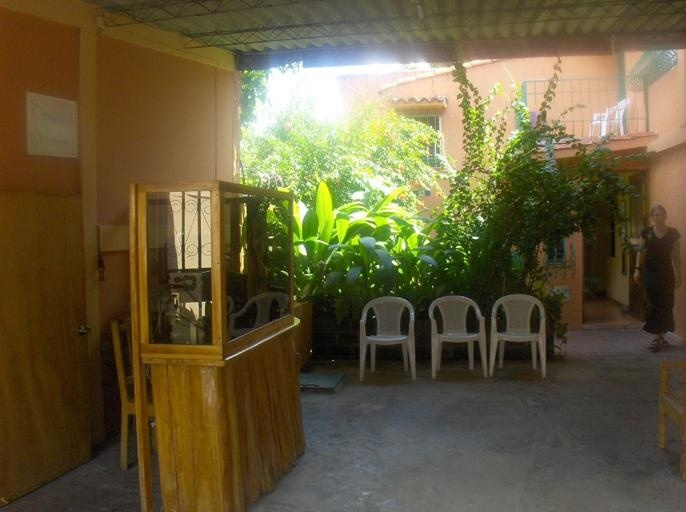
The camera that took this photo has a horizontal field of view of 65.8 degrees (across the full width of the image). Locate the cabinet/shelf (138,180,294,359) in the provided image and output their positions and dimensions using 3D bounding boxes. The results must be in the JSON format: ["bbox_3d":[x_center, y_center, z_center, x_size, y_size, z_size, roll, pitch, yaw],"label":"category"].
[{"bbox_3d":[-0.842,0.057,3.865,0.536,1.142,1.552,0,4,10],"label":"cabinet/shelf"}]

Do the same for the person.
[{"bbox_3d":[4.179,0.272,6.991,0.489,1.874,0.600,0,1,12],"label":"person"}]

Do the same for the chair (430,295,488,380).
[{"bbox_3d":[1.261,0.909,6.022,0.676,0.934,0.671,0,-5,-16],"label":"chair"}]

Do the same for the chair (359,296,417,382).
[{"bbox_3d":[0.487,0.930,6.001,0.610,0.943,0.618,-1,-3,-1],"label":"chair"}]

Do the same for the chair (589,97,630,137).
[{"bbox_3d":[4.900,-2.450,9.731,0.457,0.657,1.318,-1,0,10],"label":"chair"}]

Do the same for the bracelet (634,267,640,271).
[{"bbox_3d":[4.172,0.169,7.578,0.050,0.066,0.055,-2,1,0],"label":"bracelet"}]

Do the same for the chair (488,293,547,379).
[{"bbox_3d":[1.948,0.897,6.007,0.566,0.922,0.585,-1,-3,15],"label":"chair"}]

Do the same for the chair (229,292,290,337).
[{"bbox_3d":[-0.561,0.373,3.550,0.231,0.388,0.218,6,8,39],"label":"chair"}]

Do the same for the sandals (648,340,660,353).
[{"bbox_3d":[3.989,1.154,6.823,0.101,0.127,0.245,0,1,44],"label":"sandals"}]
